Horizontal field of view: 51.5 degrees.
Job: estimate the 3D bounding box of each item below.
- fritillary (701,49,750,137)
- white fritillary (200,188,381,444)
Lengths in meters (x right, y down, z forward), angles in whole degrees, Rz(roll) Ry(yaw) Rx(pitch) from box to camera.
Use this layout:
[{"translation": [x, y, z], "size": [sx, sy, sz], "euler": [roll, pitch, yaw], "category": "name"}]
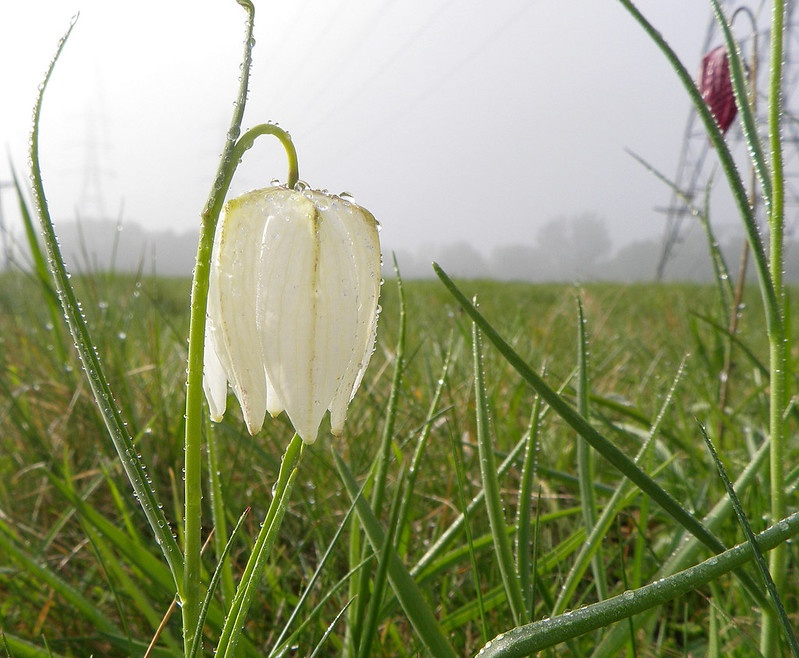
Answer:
[{"translation": [0.732, -0.547, 1.893], "size": [0.067, 0.233, 0.062], "euler": [-37, 37, -21], "category": "fritillary"}, {"translation": [-0.177, -0.033, 1.392], "size": [0.228, 0.495, 0.276], "euler": [-4, 2, -5], "category": "white fritillary"}]
